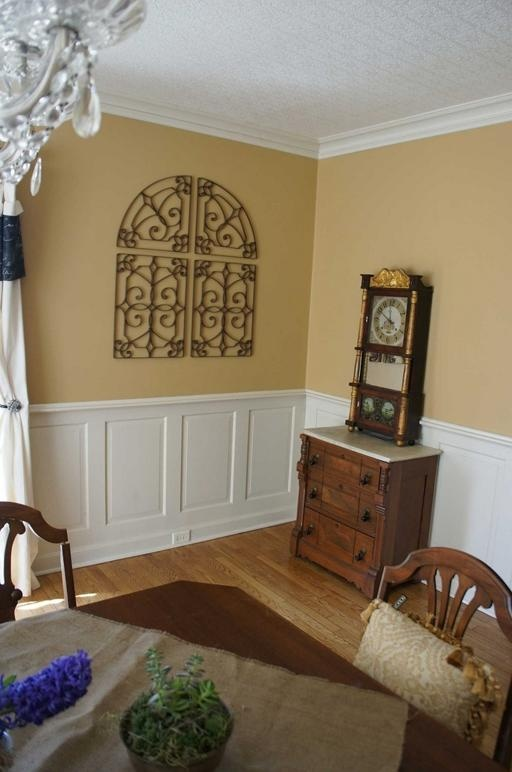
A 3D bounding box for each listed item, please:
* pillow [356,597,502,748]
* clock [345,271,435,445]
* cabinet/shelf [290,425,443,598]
[{"bbox_3d":[0.420,0.600,1.370,0.104,0.254,0.313,-42,37,-21],"label":"pillow"},{"bbox_3d":[0.798,-0.163,3.542,0.237,0.976,0.442,0,7,-40],"label":"clock"},{"bbox_3d":[0.627,0.728,3.582,0.460,0.805,0.711,-1,9,-35],"label":"cabinet/shelf"}]
